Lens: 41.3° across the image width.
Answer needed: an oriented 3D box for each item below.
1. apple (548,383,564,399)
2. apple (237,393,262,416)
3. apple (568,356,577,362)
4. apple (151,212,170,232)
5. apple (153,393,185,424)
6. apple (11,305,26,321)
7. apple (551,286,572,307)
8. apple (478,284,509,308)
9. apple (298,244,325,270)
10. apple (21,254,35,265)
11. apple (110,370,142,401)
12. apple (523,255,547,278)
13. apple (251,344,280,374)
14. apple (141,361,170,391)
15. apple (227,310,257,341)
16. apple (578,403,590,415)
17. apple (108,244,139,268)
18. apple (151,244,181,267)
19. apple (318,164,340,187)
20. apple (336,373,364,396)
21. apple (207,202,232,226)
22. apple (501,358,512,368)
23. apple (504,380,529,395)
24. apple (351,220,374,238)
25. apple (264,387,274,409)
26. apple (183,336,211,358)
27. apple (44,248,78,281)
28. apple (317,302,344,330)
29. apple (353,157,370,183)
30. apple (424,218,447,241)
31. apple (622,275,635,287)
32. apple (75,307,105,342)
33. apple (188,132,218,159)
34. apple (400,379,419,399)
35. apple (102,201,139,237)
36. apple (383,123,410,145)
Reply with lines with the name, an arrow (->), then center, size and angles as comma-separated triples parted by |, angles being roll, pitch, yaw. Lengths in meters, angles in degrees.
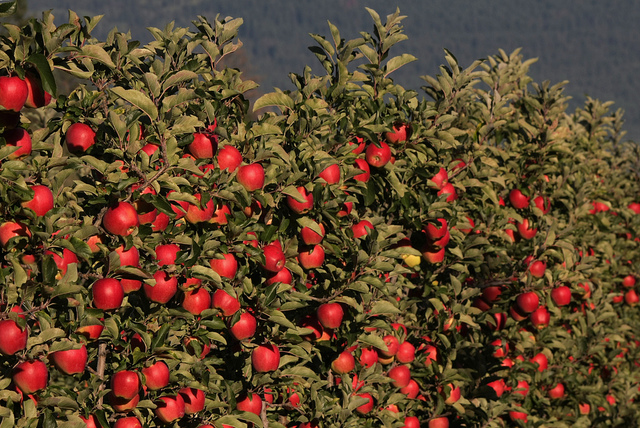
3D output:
apple -> 2.518, 1.906, 9.099 | 0.124, 0.179, 0.137 | -17, -5, -3
apple -> -0.615, 1.661, 7.352 | 0.161, 0.237, 0.183 | -5, 16, 19
apple -> 2.716, 1.563, 9.100 | 0.087, 0.061, 0.048 | -5, -1, 44
apple -> -1.340, 0.083, 7.113 | 0.122, 0.164, 0.125 | 27, -13, -19
apple -> -1.254, 1.649, 7.116 | 0.216, 0.243, 0.229 | -33, -16, -18
apple -> -2.432, 0.789, 6.795 | 0.088, 0.131, 0.097 | -9, 13, -9
apple -> 2.451, 0.840, 8.624 | 0.195, 0.205, 0.196 | -4, -1, 17
apple -> 1.722, 0.776, 8.464 | 0.253, 0.237, 0.223 | -31, -7, 11
apple -> -0.081, 0.382, 7.405 | 0.207, 0.218, 0.142 | -4, -1, 21
apple -> -2.380, 0.373, 6.877 | 0.072, 0.097, 0.080 | -1, -2, 11
apple -> -1.625, 1.410, 7.060 | 0.230, 0.283, 0.262 | 8, 10, -1
apple -> 2.155, 0.531, 8.493 | 0.193, 0.237, 0.248 | -3, 11, 17
apple -> -0.479, 1.251, 7.263 | 0.198, 0.251, 0.226 | -6, -9, -2
apple -> -1.387, 1.370, 7.147 | 0.215, 0.311, 0.242 | -3, 8, -1
apple -> -0.663, 0.954, 7.253 | 0.216, 0.296, 0.231 | -9, 13, -15
apple -> 2.921, 2.160, 9.365 | 0.094, 0.136, 0.407 | -4, -1, 20
apple -> -1.611, 0.342, 6.973 | 0.166, 0.247, 0.184 | -5, 11, 19
apple -> -1.292, 0.349, 7.001 | 0.165, 0.191, 0.182 | -16, -29, -6
apple -> 0.091, -0.330, 7.299 | 0.123, 0.187, 0.147 | -36, 17, -30
apple -> 0.274, 1.529, 7.665 | 0.166, 0.186, 0.341 | -3, -1, -24
apple -> -0.855, 0.016, 7.235 | 0.164, 0.241, 0.178 | 3, 8, 27
apple -> 1.896, 1.523, 8.586 | 0.084, 0.095, 0.199 | -4, -1, 23
apple -> 1.969, 1.757, 8.507 | 0.114, 0.136, 0.157 | -5, -33, -8
apple -> 0.358, 0.141, 7.482 | 0.152, 0.151, 0.147 | -43, 6, -27
apple -> -0.466, 1.661, 7.603 | 0.082, 0.174, 0.114 | 0, 3, -39
apple -> -1.065, 1.125, 7.281 | 0.195, 0.167, 0.183 | 13, -10, -17
apple -> -2.109, 0.415, 6.987 | 0.208, 0.257, 0.283 | 7, 22, 7
apple -> 0.097, 0.889, 7.469 | 0.224, 0.268, 0.247 | -8, 27, 2
apple -> 0.365, -0.383, 7.490 | 0.179, 0.225, 0.081 | -3, 0, -26
apple -> 1.042, 0.148, 7.790 | 0.161, 0.233, 0.174 | -4, 19, -17
apple -> 3.918, 0.868, 10.832 | 0.116, 0.163, 0.126 | 6, 26, -26
apple -> -1.874, 0.921, 6.948 | 0.163, 0.195, 0.228 | -8, 42, 7
apple -> -0.994, -0.582, 7.314 | 0.200, 0.249, 0.211 | -8, 0, 37
apple -> 0.838, 1.648, 7.926 | 0.137, 0.205, 0.155 | 0, -2, 4
apple -> -1.656, 0.063, 7.013 | 0.271, 0.389, 0.311 | 6, 26, -8
apple -> 0.702, -0.726, 7.757 | 0.238, 0.190, 0.091 | -3, 0, -26
